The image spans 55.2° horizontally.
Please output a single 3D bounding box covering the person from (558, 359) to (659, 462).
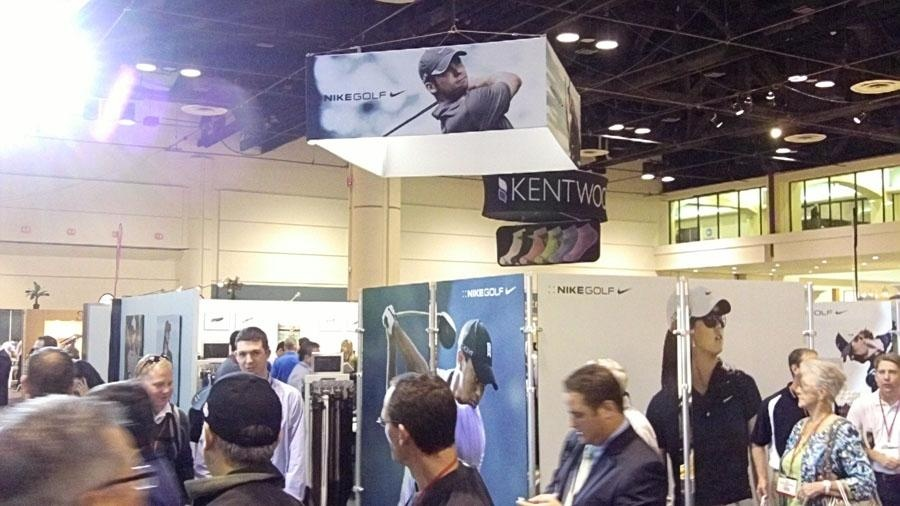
[{"bbox_3d":[1.681,1.486,8.456,0.727,0.994,0.388,-18,-1,-25],"label":"person"}]

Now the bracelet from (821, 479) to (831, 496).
[{"bbox_3d":[3.852,2.427,8.866,0.107,0.142,0.055,0,-9,19],"label":"bracelet"}]

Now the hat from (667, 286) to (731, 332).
[{"bbox_3d":[2.831,0.541,10.106,0.421,0.294,0.592,-21,5,-43],"label":"hat"}]

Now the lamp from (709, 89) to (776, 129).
[{"bbox_3d":[5.779,-2.854,16.776,0.750,0.205,0.676,-2,-22,-2],"label":"lamp"}]

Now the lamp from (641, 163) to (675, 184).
[{"bbox_3d":[5.839,-2.299,24.755,0.636,0.313,0.867,2,-1,6],"label":"lamp"}]
